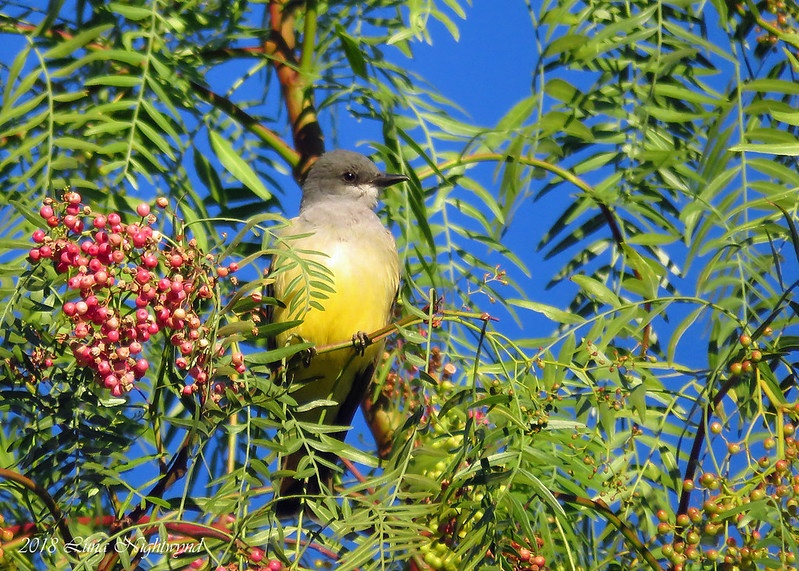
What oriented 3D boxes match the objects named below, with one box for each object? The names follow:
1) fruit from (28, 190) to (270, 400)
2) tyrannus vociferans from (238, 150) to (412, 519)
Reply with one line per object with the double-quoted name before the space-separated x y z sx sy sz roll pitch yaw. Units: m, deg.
"fruit" -0.986 0.055 5.357 0.684 0.397 0.533 46 -3 0
"tyrannus vociferans" -0.417 -0.067 7.623 0.604 1.175 1.841 -4 -3 -17
